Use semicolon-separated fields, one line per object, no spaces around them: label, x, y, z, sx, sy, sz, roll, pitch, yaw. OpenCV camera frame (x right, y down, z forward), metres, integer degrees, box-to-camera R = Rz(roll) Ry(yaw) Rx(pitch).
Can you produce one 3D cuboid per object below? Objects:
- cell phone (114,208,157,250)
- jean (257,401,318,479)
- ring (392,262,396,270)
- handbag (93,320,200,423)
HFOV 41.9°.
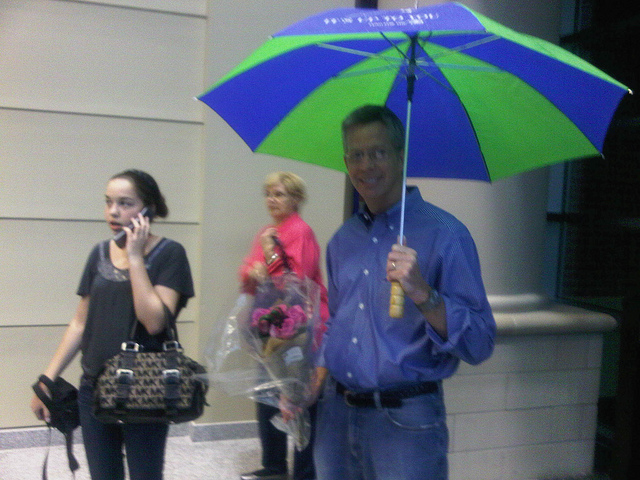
cell phone;-1.005;-0.053;4.434;0.058;0.214;0.074;44;-3;-27
jean;-0.231;1.304;5.391;0.412;0.494;0.176;-1;-2;9
ring;0.320;0.122;3.687;0.019;0.029;0.007;-1;-14;-23
handbag;-0.921;0.690;4.268;0.453;0.624;0.199;2;-7;-1
